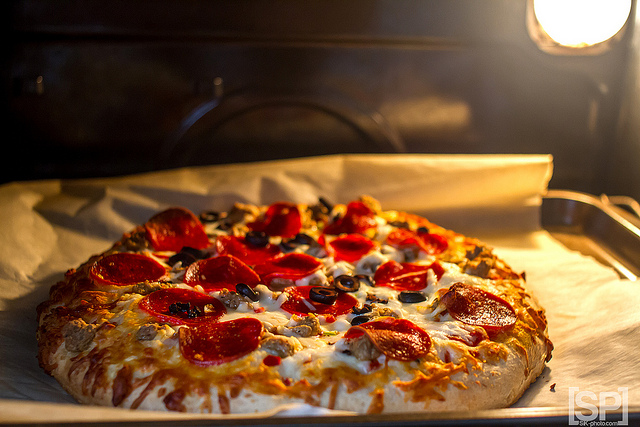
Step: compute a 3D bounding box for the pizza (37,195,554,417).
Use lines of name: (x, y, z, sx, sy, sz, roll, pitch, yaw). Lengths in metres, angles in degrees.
pizza: (-0.075, 0.317, 1.846, 1.663, 0.299, 1.028, -2, 33, 1)
